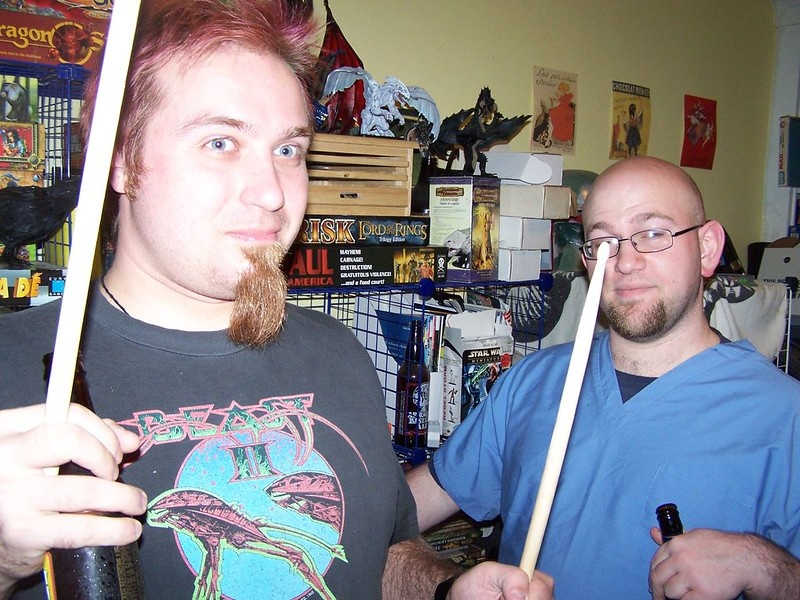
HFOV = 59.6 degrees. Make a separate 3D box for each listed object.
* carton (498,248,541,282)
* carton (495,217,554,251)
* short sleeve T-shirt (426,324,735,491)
[{"bbox_3d":[0.344,-0.100,1.990,0.093,0.063,0.094,-1,2,-43],"label":"carton"},{"bbox_3d":[0.358,-0.178,2.018,0.103,0.072,0.111,2,2,15],"label":"carton"},{"bbox_3d":[0.396,0.248,1.536,0.333,0.278,0.124,16,-22,38],"label":"short sleeve T-shirt"}]
